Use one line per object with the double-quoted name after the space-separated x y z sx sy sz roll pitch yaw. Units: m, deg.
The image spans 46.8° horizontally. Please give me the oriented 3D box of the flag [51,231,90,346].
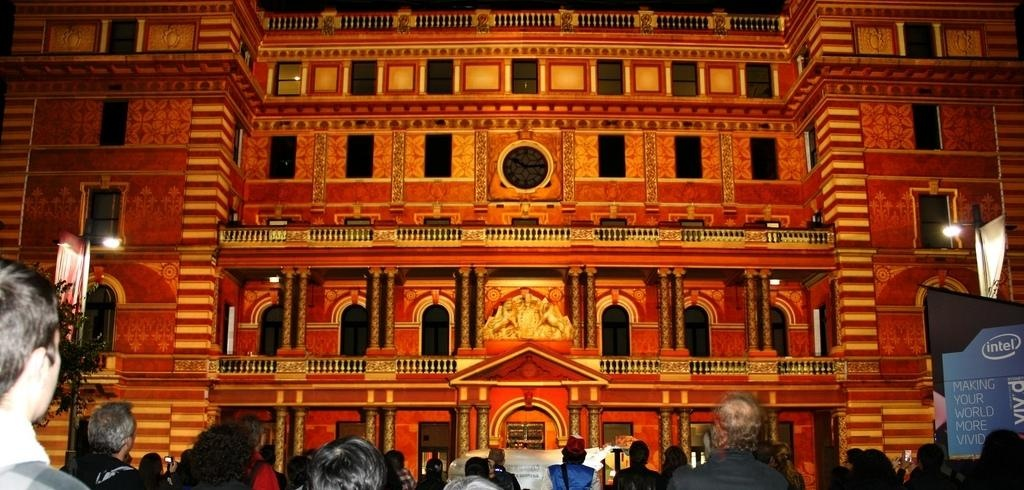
-24.804 1.927 65.961 0.533 4.643 1.917 -22 -25 30 "flag"
